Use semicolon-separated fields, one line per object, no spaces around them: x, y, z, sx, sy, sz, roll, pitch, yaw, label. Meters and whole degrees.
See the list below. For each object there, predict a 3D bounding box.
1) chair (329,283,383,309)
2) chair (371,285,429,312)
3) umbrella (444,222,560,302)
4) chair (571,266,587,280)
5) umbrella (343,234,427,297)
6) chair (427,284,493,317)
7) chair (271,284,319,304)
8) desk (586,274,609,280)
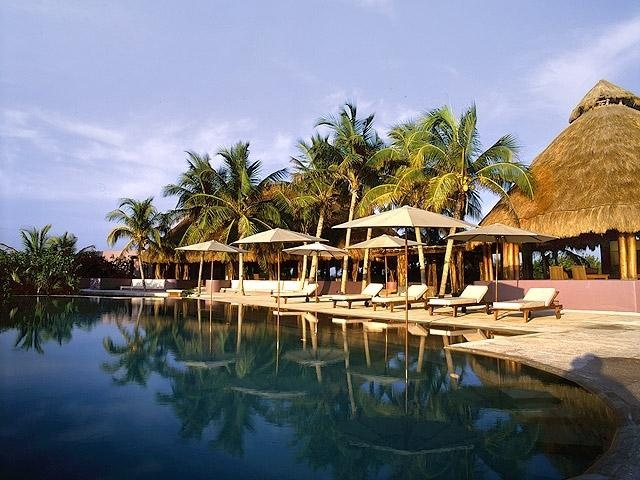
1.614;2.310;18.737;2.165;1.191;1.090;6;-11;-33;chair
3.266;2.261;17.334;2.142;0.981;1.154;6;-11;-35;chair
6.401;0.759;15.815;2.683;2.869;2.973;0;6;35;umbrella
10.468;1.287;17.602;0.471;0.501;0.657;-3;-9;28;chair
3.663;1.328;24.878;3.215;2.518;3.373;-1;2;2;umbrella
4.815;2.028;14.983;2.147;1.176;1.233;6;-10;-36;chair
-0.991;2.588;22.401;2.217;1.031;1.125;5;-10;-23;chair
11.993;1.573;18.799;0.598;0.308;2.246;-5;-11;39;desk
